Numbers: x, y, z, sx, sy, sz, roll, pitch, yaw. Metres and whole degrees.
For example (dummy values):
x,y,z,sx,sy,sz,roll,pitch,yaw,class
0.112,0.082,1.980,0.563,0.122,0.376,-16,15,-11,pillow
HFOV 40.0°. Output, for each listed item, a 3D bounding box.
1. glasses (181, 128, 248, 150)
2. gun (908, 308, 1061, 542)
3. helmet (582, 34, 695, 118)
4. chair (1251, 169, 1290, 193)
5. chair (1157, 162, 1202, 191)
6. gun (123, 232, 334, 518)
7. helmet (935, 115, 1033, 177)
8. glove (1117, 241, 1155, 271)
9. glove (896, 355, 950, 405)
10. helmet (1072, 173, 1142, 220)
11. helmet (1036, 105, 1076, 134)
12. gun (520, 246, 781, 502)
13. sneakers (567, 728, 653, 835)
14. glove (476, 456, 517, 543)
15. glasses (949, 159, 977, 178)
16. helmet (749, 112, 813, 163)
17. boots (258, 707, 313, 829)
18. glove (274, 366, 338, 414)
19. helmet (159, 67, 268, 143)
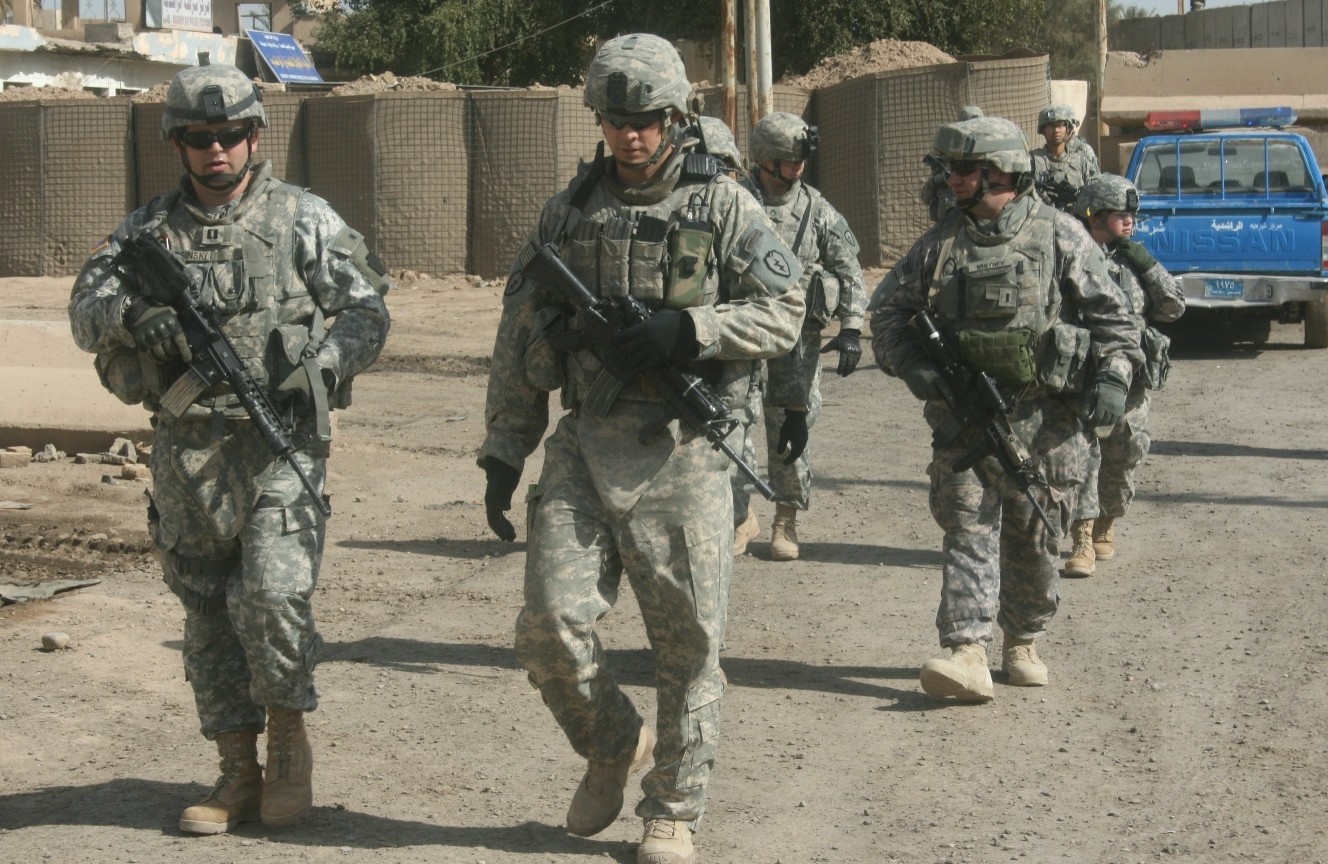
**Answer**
x,y,z,sx,sy,sz,roll,pitch,yaw,class
-2.053,-1.340,8.359,0.308,0.092,0.081,-3,12,-13,glasses
1.713,-0.067,9.546,0.181,1.219,0.483,-35,1,-42,gun
-0.085,-1.547,8.172,0.397,0.307,0.417,0,-5,15,helmet
6.335,-2.608,19.026,0.303,0.248,0.288,1,-4,8,chair
5.397,-2.668,19.167,0.351,0.316,0.309,4,9,14,chair
-1.975,-0.286,8.309,0.566,1.373,0.175,-33,4,16,gun
1.667,-1.444,9.531,0.395,0.271,0.344,-12,20,-14,helmet
3.012,-1.127,11.732,0.232,0.089,0.172,38,30,8,glove
1.391,-0.300,9.610,0.094,0.260,0.186,-43,1,-39,glove
2.808,-1.497,11.521,0.317,0.231,0.290,8,11,12,helmet
3.598,-2.876,16.694,0.239,0.184,0.298,-3,-17,16,helmet
-0.092,-0.290,8.047,0.502,1.395,0.192,-44,0,23,gun
-0.238,1.577,8.238,0.182,0.517,0.228,37,15,21,sneakers
-0.747,0.296,8.098,0.224,0.349,0.094,5,-1,-41,glove
1.531,-1.357,9.436,0.088,0.084,0.029,0,8,32,glasses
0.758,-1.885,11.739,0.298,0.290,0.373,10,23,8,helmet
-1.741,1.521,8.370,0.243,0.538,0.190,-3,13,-13,boots
-1.633,-0.194,8.358,0.237,0.214,0.196,-2,35,-5,glove
-2.075,-1.536,8.490,0.399,0.238,0.383,-4,21,-7,helmet
